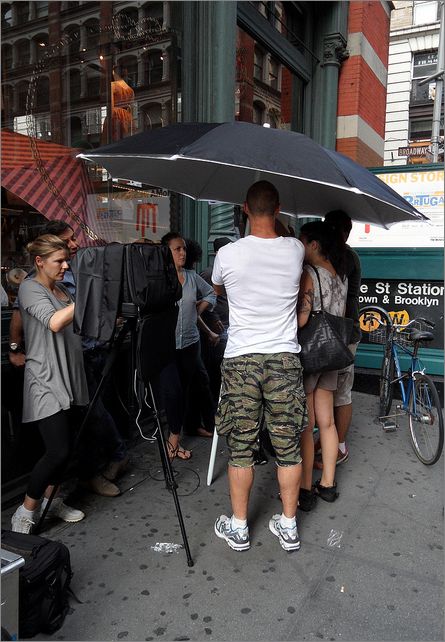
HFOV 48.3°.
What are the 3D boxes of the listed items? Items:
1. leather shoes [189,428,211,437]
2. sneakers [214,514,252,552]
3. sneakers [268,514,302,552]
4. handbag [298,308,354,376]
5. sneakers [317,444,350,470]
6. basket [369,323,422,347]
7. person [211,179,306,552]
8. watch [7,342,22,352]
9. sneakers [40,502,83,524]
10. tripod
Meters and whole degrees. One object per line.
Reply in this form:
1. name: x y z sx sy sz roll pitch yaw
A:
1. leather shoes: -0.199 1.004 4.477 0.111 0.079 0.039 16 -4 13
2. sneakers: 0.051 1.143 2.717 0.093 0.124 0.249 5 6 -26
3. sneakers: 0.342 1.139 2.702 0.090 0.109 0.224 1 14 -6
4. handbag: 0.562 0.109 2.743 0.296 0.359 0.124 -14 -4 2
5. sneakers: 0.882 1.082 3.935 0.122 0.173 0.367 -5 -9 36
6. basket: 1.636 0.116 4.734 0.475 0.197 0.328 12 17 20
7. person: 0.191 0.259 2.530 0.502 1.929 0.371 1 4 4
8. watch: -1.161 0.142 2.773 0.043 0.034 0.049 9 22 38
9. sneakers: -0.922 1.114 2.925 0.270 0.129 0.125 6 1 -17
10. tripod: -0.421 0.570 2.581 0.514 1.278 0.699 0 4 -11
